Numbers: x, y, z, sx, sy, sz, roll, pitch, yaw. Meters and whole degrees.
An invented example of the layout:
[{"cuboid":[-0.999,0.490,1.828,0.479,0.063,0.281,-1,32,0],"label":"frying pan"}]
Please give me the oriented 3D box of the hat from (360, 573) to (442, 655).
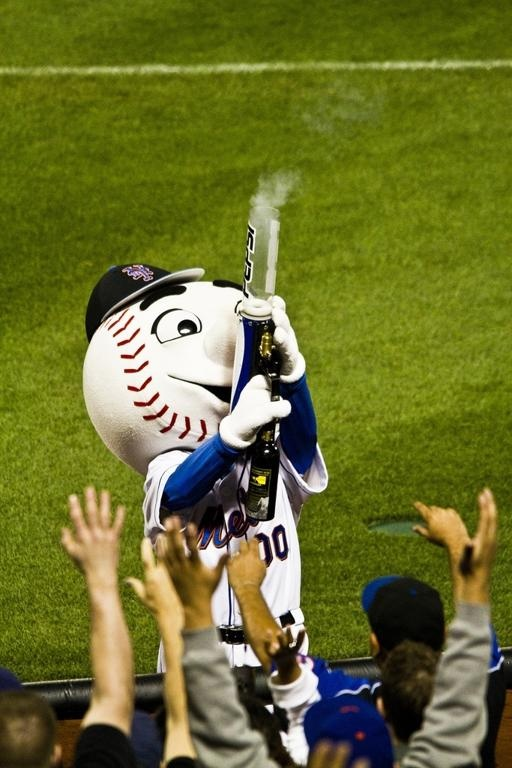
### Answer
[{"cuboid":[0.366,0.560,2.872,0.141,0.196,0.106,2,-58,1],"label":"hat"}]
